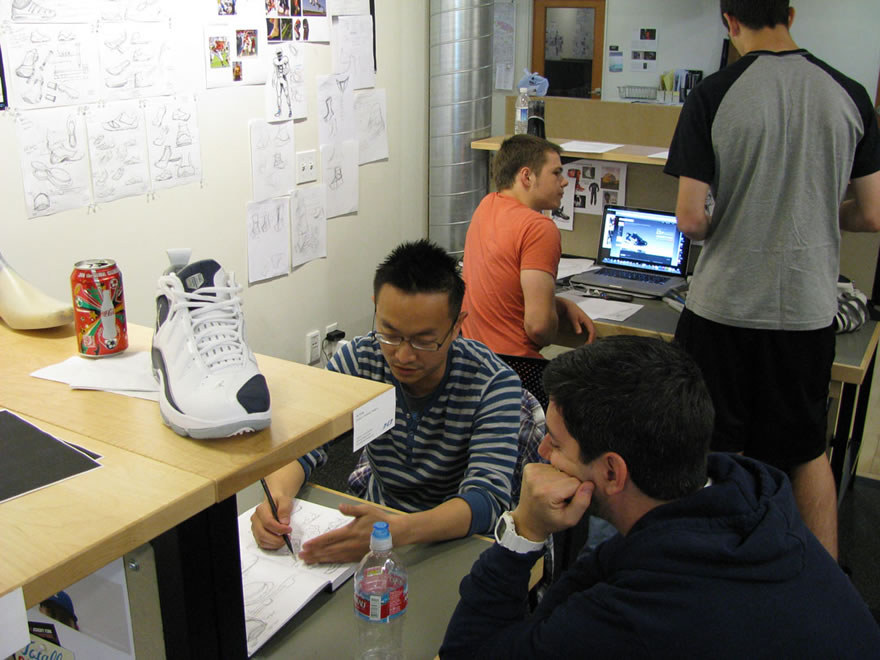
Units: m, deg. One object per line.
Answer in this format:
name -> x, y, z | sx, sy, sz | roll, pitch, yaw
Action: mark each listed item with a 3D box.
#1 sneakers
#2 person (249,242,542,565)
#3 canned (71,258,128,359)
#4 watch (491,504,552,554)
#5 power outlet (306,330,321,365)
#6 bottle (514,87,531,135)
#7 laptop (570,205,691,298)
sneakers -> -0.349, -0.013, 0.985 | 0.121, 0.171, 0.340 | -9, 35, -29
person -> -0.104, 0.214, 1.606 | 0.600, 0.777, 0.830 | 1, 17, -4
canned -> -0.612, -0.045, 1.181 | 0.091, 0.137, 0.200 | -13, 24, -28
watch -> 0.148, 0.353, 1.203 | 0.080, 0.039, 0.063 | 18, 9, 17
power outlet -> -0.672, 0.089, 3.479 | 0.030, 0.204, 0.137 | 5, 14, 22
bottle -> 0.439, -1.191, 3.603 | 0.063, 0.226, 0.206 | -4, 21, -7
laptop -> 0.976, -0.415, 3.367 | 0.524, 0.375, 0.510 | 7, 19, 23
